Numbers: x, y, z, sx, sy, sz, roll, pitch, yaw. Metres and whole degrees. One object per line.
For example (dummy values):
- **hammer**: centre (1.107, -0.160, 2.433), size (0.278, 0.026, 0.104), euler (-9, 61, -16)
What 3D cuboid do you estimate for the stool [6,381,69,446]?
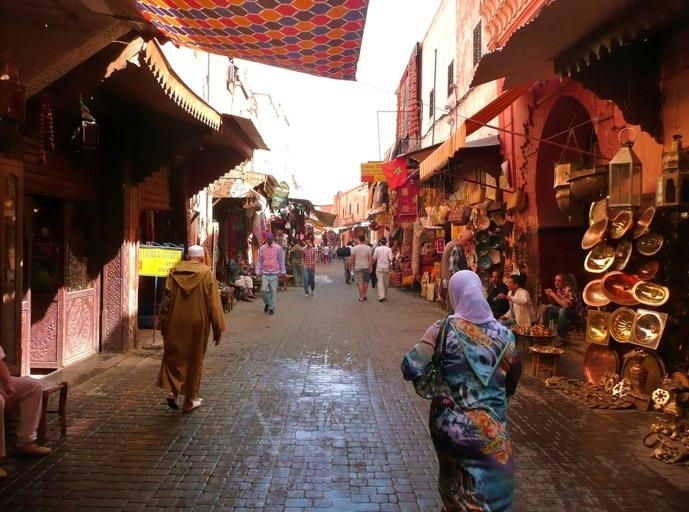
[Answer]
- **stool**: centre (-3.021, 1.556, 5.255), size (0.343, 0.546, 0.371), euler (1, 0, 3)

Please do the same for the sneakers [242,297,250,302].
- **sneakers**: centre (-2.850, 1.266, 15.513), size (0.212, 0.095, 0.566), euler (-1, 6, -15)

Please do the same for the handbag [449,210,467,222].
- **handbag**: centre (2.795, -0.950, 12.921), size (0.298, 0.290, 0.316), euler (1, 1, 9)

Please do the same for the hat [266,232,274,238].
- **hat**: centre (-1.831, -0.479, 13.076), size (0.138, 0.155, 0.182), euler (0, 14, -15)

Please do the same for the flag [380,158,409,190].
- **flag**: centre (1.415, -2.298, 14.686), size (0.625, 0.782, 1.618), euler (1, 6, 4)

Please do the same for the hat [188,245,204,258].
- **hat**: centre (-1.830, -0.063, 6.497), size (0.141, 0.175, 0.169), euler (4, 23, -6)

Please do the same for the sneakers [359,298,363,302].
- **sneakers**: centre (0.511, 1.285, 15.444), size (0.119, 0.085, 0.385), euler (0, 6, 2)

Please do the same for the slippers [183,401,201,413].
- **slippers**: centre (-1.765, 1.729, 6.116), size (0.071, 0.089, 0.213), euler (5, 10, 20)

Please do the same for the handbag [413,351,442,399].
- **handbag**: centre (0.622, 0.856, 3.827), size (0.200, 0.314, 0.076), euler (8, -4, 13)

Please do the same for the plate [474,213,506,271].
- **plate**: centre (3.380, -0.352, 12.141), size (0.207, 1.116, 0.858), euler (-3, 15, -30)

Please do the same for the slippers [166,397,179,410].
- **slippers**: centre (-1.974, 1.686, 6.051), size (0.081, 0.194, 0.081), euler (1, 36, 1)

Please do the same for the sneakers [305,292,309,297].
- **sneakers**: centre (-1.197, 1.244, 16.878), size (0.101, 0.200, 0.146), euler (1, -5, -1)

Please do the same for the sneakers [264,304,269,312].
- **sneakers**: centre (-1.906, 1.300, 12.980), size (0.070, 0.226, 0.145), euler (3, 7, -1)

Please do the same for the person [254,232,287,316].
- **person**: centre (-1.812, 0.436, 13.136), size (0.633, 1.996, 1.269), euler (-1, 6, -10)

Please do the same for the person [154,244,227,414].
- **person**: centre (-1.883, 0.828, 6.275), size (0.541, 1.849, 0.725), euler (2, 6, 22)

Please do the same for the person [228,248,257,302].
- **person**: centre (-3.167, 0.670, 16.220), size (0.785, 1.344, 2.568), euler (-1, 6, -10)

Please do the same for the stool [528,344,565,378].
- **stool**: centre (2.879, 1.476, 7.494), size (0.446, 0.481, 0.444), euler (0, 0, -2)
